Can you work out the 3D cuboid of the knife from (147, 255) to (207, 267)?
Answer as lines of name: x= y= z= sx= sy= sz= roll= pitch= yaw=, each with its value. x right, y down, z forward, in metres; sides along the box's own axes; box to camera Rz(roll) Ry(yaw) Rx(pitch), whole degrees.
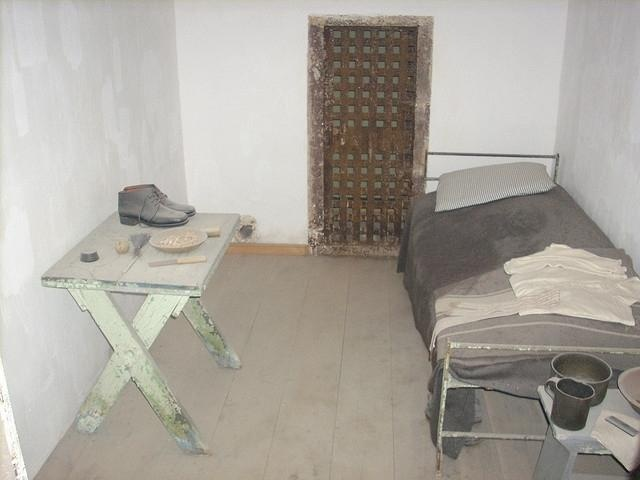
knife: x=-0.630 y=0.094 z=2.083 sx=0.169 sy=0.023 sz=0.037 roll=-3 pitch=18 yaw=-4

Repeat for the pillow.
pillow: x=1.219 y=-0.394 z=3.366 sx=0.649 sy=0.139 sz=0.435 roll=-12 pitch=32 yaw=16

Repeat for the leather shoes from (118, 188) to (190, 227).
leather shoes: x=-0.851 y=-0.170 z=2.451 sx=0.312 sy=0.160 sz=0.210 roll=5 pitch=29 yaw=-7

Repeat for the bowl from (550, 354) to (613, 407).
bowl: x=0.917 y=0.456 z=1.663 sx=0.142 sy=0.086 sz=0.193 roll=-7 pitch=17 yaw=-3

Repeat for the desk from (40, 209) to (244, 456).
desk: x=-0.650 y=0.435 z=2.560 sx=0.892 sy=1.151 sz=1.183 roll=5 pitch=30 yaw=2
